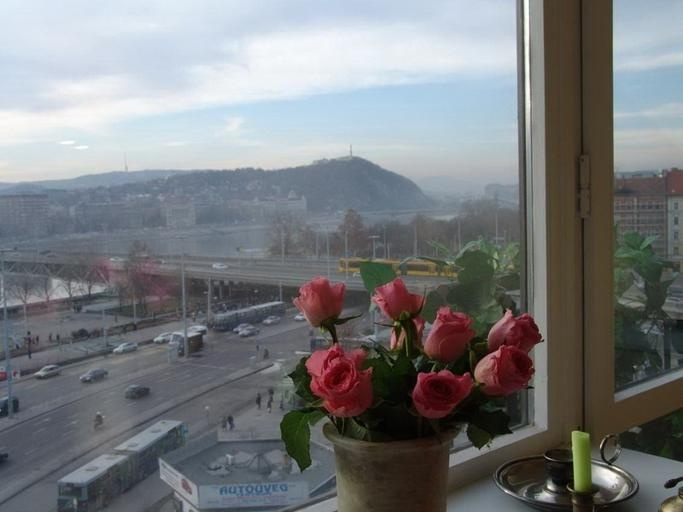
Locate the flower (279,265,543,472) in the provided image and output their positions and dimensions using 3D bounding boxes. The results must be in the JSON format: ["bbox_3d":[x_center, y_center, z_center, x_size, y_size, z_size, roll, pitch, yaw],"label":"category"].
[{"bbox_3d":[0.116,0.206,1.075,0.359,0.329,0.363,3,-1,-8],"label":"flower"}]

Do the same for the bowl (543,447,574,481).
[{"bbox_3d":[0.510,0.484,1.379,0.055,0.043,0.059,0,11,0],"label":"bowl"}]
